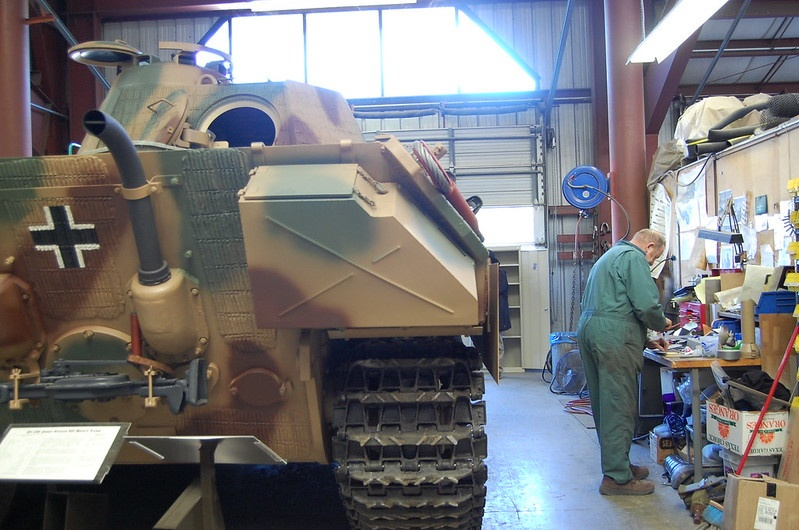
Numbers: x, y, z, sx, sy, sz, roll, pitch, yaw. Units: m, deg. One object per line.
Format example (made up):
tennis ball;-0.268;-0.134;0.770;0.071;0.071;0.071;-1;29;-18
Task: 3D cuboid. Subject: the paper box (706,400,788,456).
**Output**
paper box;3.333;1.504;7.174;0.483;0.344;0.498;1;2;-8

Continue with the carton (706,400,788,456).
carton;3.321;1.573;7.260;0.483;0.344;0.498;1;2;-8

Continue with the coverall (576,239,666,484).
coverall;2.280;1.043;7.668;0.855;2.532;0.521;2;7;21

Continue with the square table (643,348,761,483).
square table;3.010;1.521;7.781;1.055;1.126;1.123;-1;0;0

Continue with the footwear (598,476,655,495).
footwear;2.332;2.253;7.645;0.541;0.238;0.211;-2;-1;0
